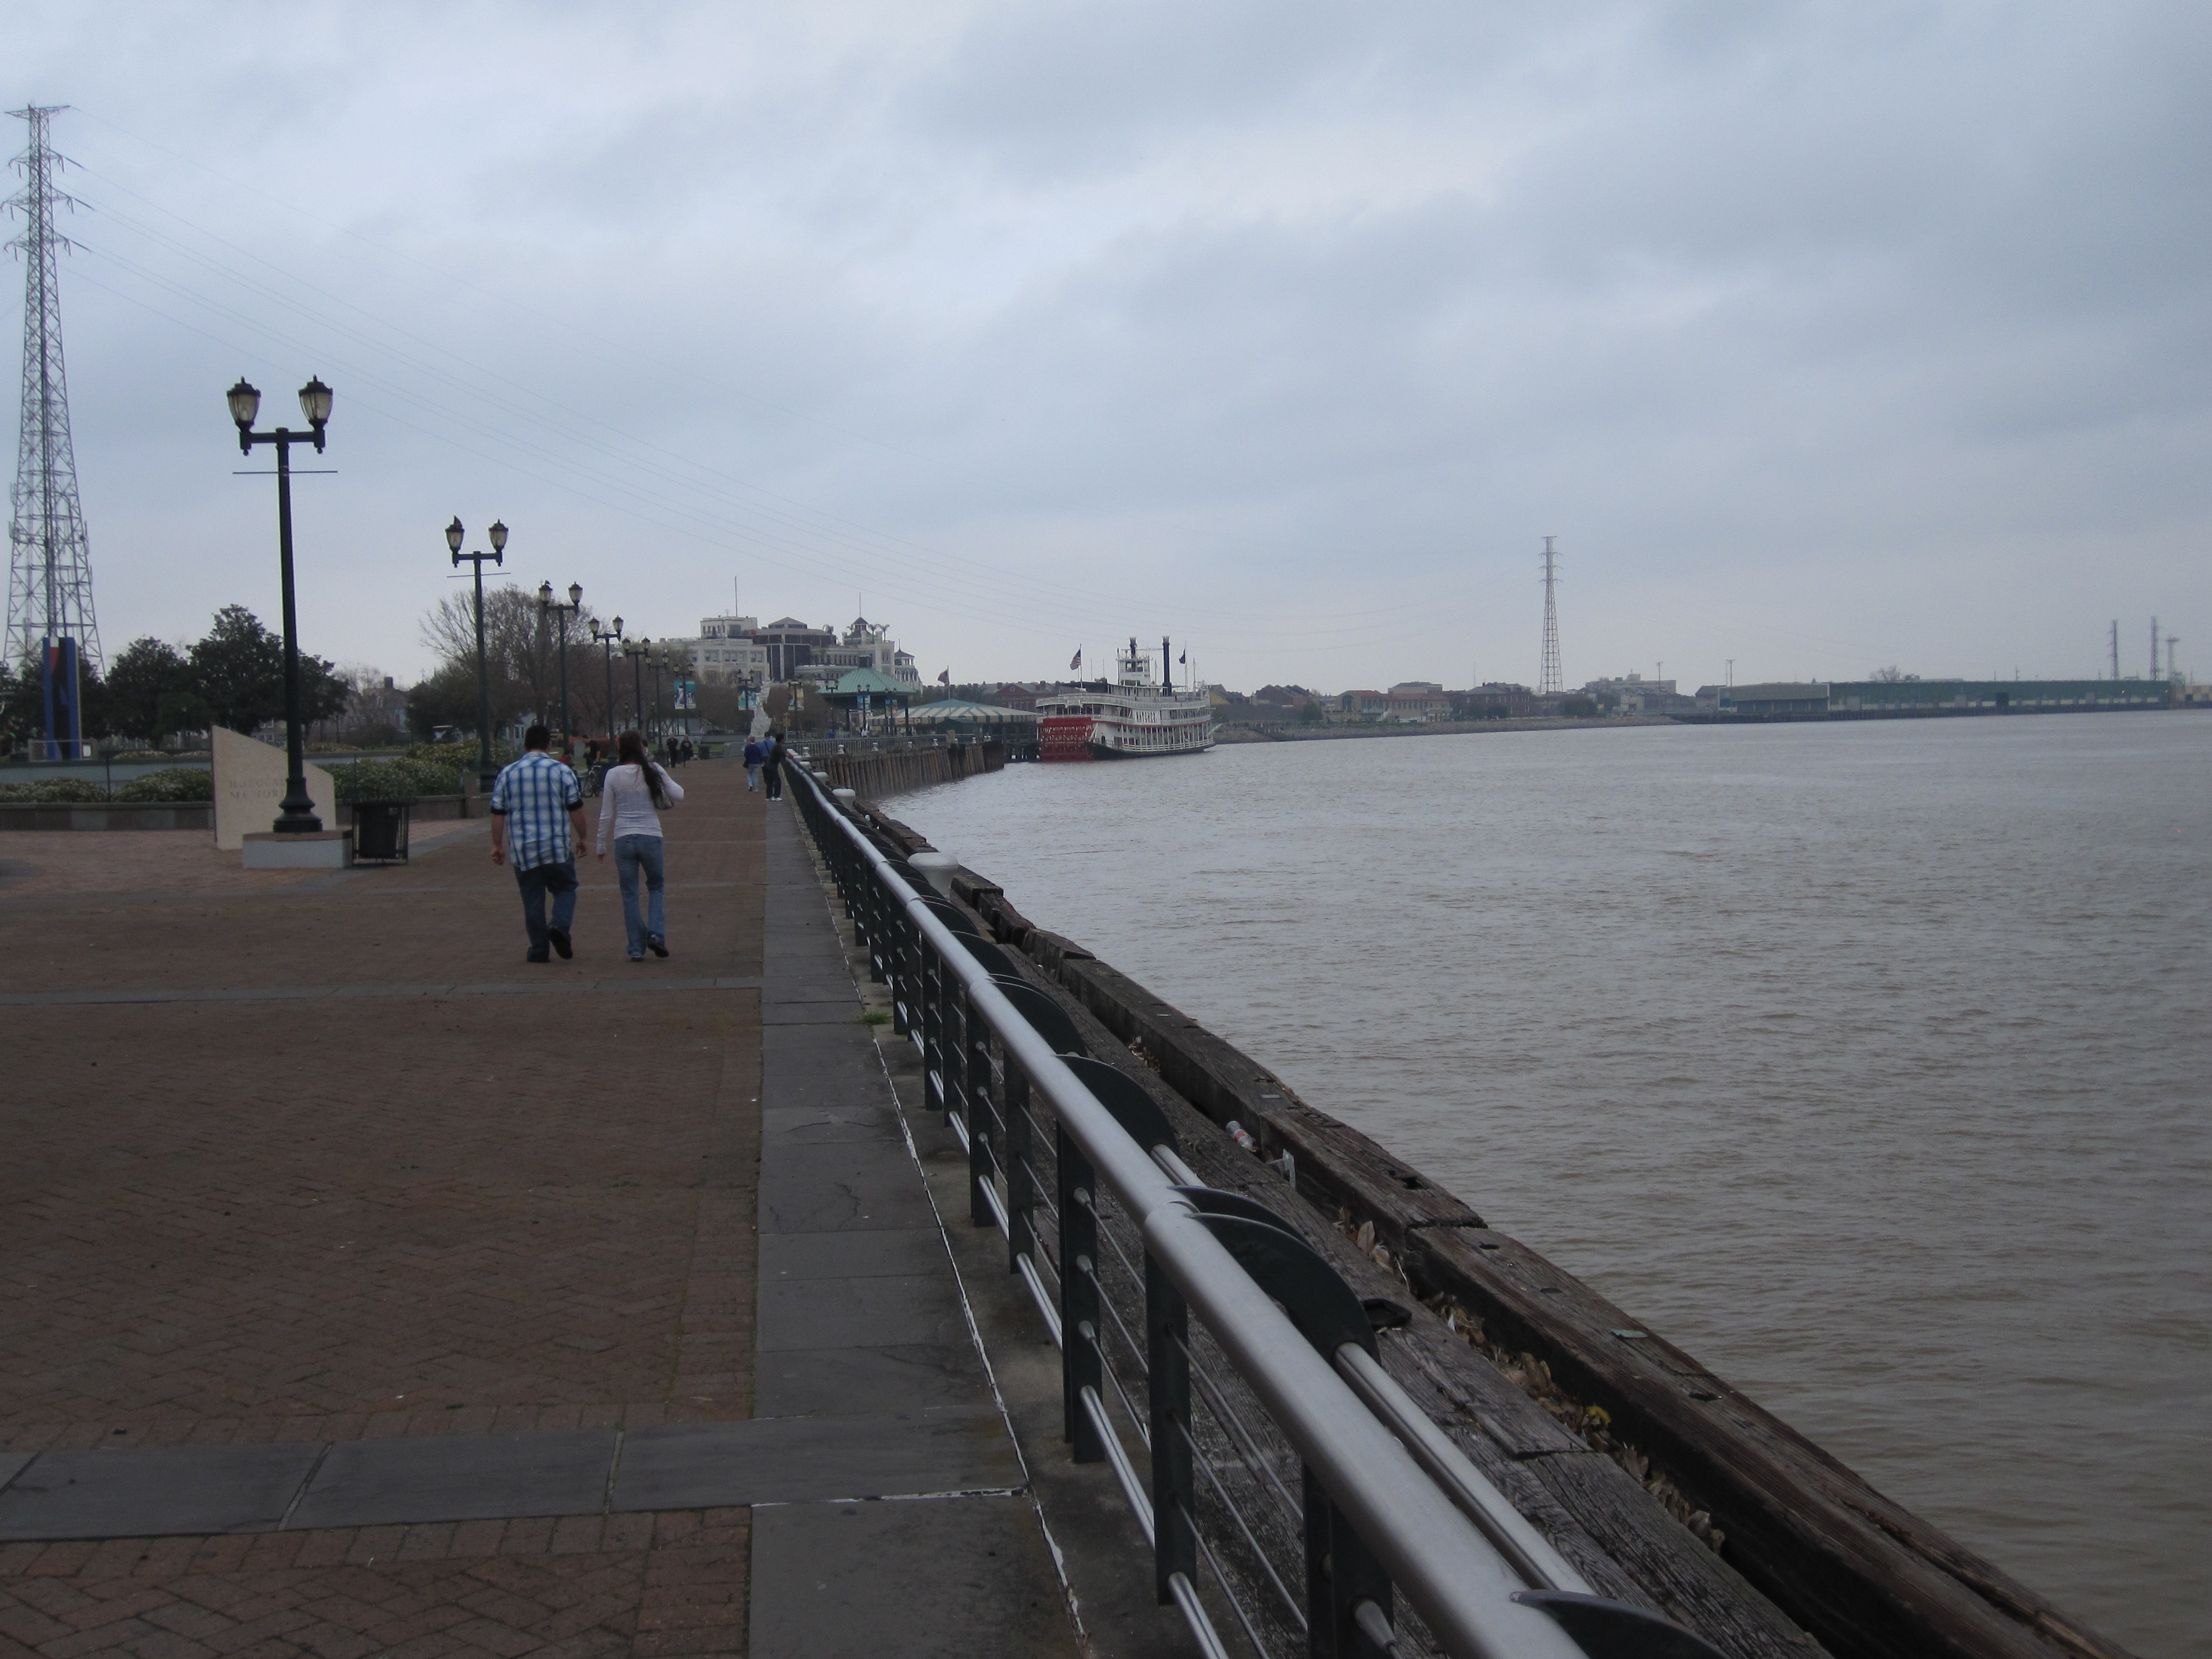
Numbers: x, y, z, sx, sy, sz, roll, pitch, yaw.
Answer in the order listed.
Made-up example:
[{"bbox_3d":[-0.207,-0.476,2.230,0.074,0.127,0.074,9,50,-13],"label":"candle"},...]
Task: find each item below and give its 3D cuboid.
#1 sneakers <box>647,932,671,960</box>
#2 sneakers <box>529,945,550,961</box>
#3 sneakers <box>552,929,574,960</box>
[{"bbox_3d":[-3.798,1.065,17.830,0.111,0.319,0.221,-9,29,-3],"label":"sneakers"},{"bbox_3d":[-4.718,1.034,17.428,0.141,0.169,0.153,-2,4,1],"label":"sneakers"},{"bbox_3d":[-4.562,0.978,17.587,0.107,0.320,0.131,-1,5,9],"label":"sneakers"}]
